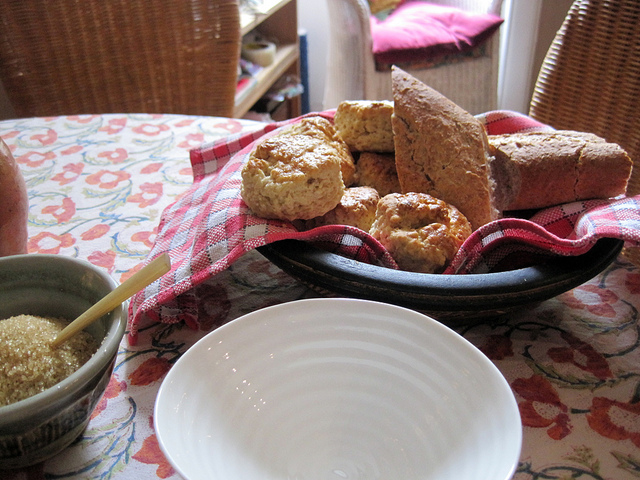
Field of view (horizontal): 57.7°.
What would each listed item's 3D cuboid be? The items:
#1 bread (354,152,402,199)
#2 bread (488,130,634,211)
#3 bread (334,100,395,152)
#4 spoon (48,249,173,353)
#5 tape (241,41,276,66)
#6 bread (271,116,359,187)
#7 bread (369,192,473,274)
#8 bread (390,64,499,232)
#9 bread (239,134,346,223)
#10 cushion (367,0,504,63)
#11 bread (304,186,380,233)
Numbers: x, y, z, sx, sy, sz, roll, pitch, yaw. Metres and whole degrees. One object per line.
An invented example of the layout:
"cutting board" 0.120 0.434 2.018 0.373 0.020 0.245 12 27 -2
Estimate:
"bread" 0.085 -0.096 0.849 0.072 0.021 0.065 -5 61 0
"bread" 0.346 -0.110 0.826 0.151 0.064 0.135 -3 30 10
"bread" 0.093 -0.168 0.902 0.120 0.068 0.104 6 5 21
"spoon" -0.242 0.077 0.680 0.039 0.283 0.036 1 68 -57
"tape" -0.256 -0.793 2.466 0.143 0.050 0.129 -9 38 -18
"bread" -0.026 -0.119 0.888 0.118 0.034 0.122 43 31 25
"bread" 0.130 -0.012 0.737 0.115 0.041 0.113 -4 41 -15
"bread" 0.167 -0.124 0.803 0.146 0.067 0.238 12 73 -1
"bread" -0.032 -0.087 0.797 0.138 0.080 0.151 14 41 14
"cushion" 0.420 -0.860 2.305 0.486 0.141 0.584 -1 39 -3
"bread" 0.038 -0.040 0.797 0.082 0.031 0.073 -4 24 7
